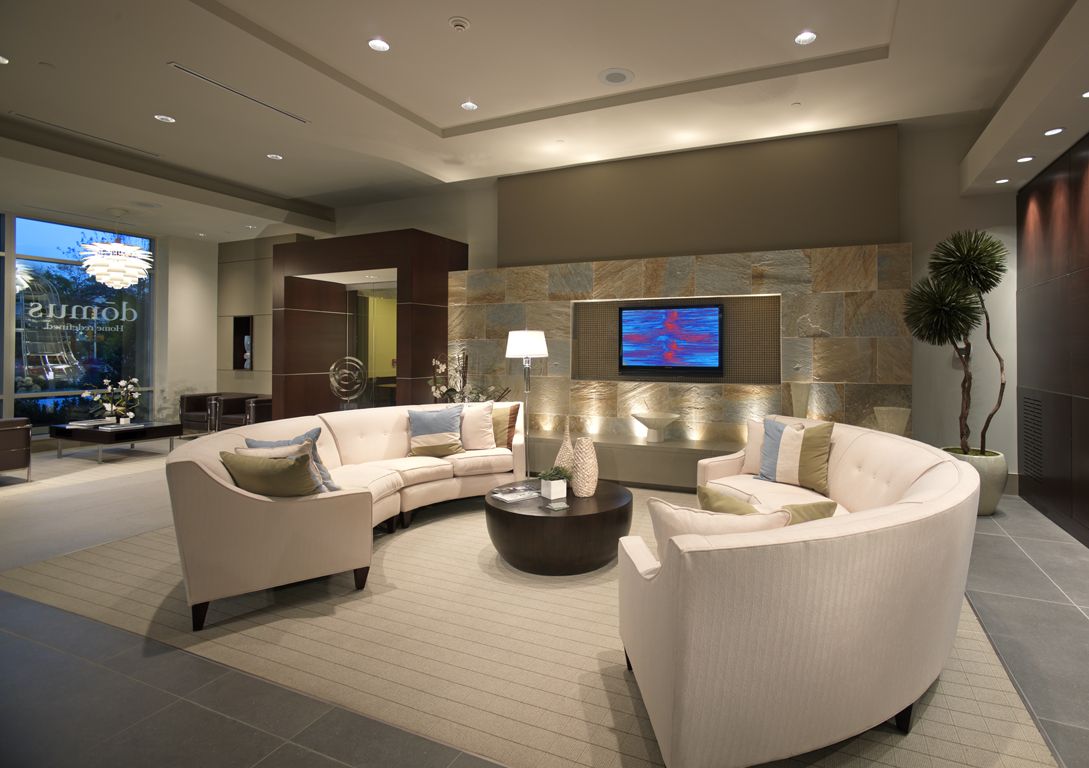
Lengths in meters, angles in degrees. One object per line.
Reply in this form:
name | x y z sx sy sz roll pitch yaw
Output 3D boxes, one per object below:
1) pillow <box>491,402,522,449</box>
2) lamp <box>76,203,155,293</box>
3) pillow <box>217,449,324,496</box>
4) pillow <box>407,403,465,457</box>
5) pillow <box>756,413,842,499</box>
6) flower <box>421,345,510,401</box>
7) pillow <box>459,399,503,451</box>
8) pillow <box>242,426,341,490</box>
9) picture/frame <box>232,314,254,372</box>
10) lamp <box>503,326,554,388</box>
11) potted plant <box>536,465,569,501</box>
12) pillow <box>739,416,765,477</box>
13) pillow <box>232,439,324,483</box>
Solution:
pillow | -0.392 0.415 6.183 0.358 0.354 0.141 -4 0 -23
lamp | -6.169 -1.873 9.040 1.174 1.012 1.173 -1 -2 18
pillow | -1.780 0.587 4.058 0.380 0.149 0.373 4 3 -4
pillow | -1.033 0.445 5.812 0.438 0.405 0.156 1 -30 -13
pillow | 1.995 0.580 4.796 0.199 0.513 0.540 21 -13 -37
flower | -1.061 -0.058 7.738 1.084 0.681 0.596 9 17 33
pillow | -0.627 0.420 6.065 0.412 0.401 0.147 -5 -29 2
pillow | -1.797 0.521 4.513 0.482 0.508 0.156 -9 -24 20
picture/frame | -5.130 -0.697 10.423 0.429 0.889 0.340 0 14 4
lamp | -0.296 -0.318 6.886 0.665 0.862 0.632 -3 6 -24
potted plant | 0.052 0.743 4.760 0.220 0.264 0.269 -1 1 -23
pillow | 1.827 0.540 5.359 0.185 0.521 0.440 3 -3 -15
pillow | -1.827 0.541 4.094 0.399 0.156 0.391 4 4 -28
